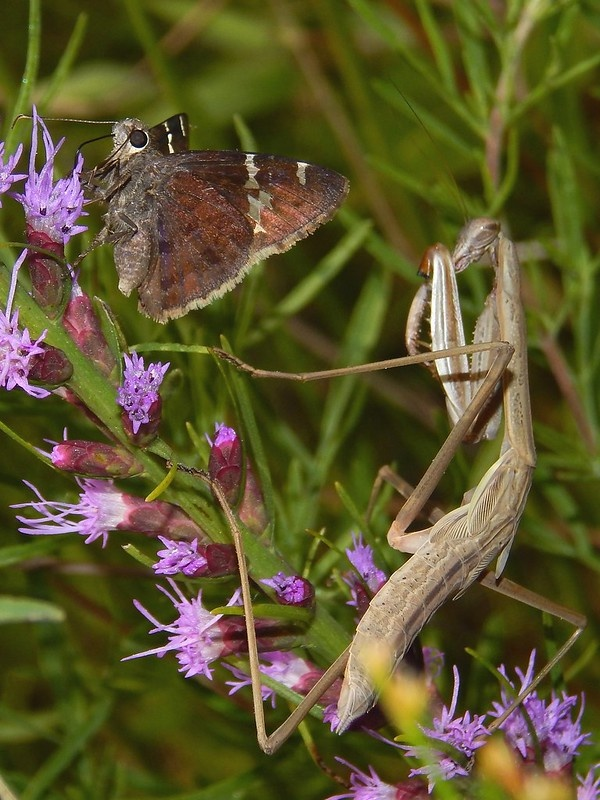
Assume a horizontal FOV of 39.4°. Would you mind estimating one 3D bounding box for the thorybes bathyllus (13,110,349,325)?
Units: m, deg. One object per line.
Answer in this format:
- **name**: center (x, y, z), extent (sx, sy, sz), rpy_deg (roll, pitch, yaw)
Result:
- **thorybes bathyllus**: center (-0.093, -0.200, 0.910), extent (0.275, 0.275, 0.172), rpy_deg (-13, 56, 50)
